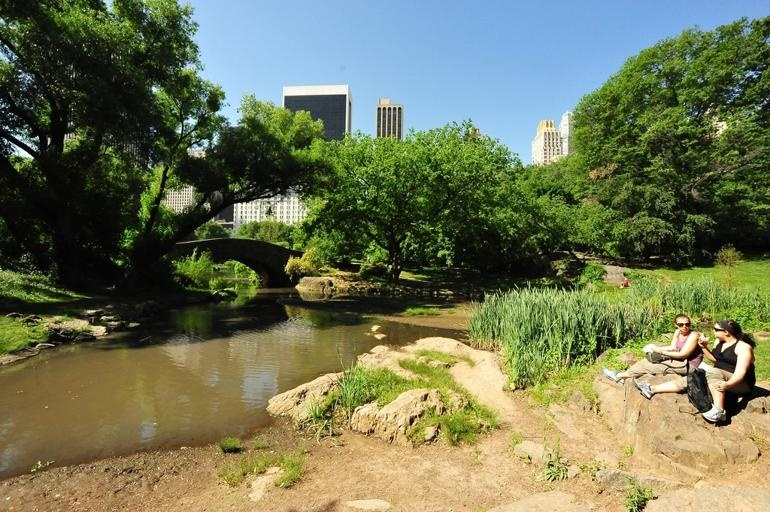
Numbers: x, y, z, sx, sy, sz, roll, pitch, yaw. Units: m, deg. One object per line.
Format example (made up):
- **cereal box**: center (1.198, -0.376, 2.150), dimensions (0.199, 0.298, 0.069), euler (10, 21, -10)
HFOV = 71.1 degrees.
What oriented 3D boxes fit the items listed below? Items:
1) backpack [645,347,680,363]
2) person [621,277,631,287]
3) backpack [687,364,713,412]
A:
- **backpack**: center (8.947, 3.294, 17.607), dimensions (0.618, 0.301, 0.402), euler (6, 45, 24)
- **person**: center (16.107, 1.771, 35.969), dimensions (0.489, 0.327, 0.721), euler (5, 26, 33)
- **backpack**: center (9.598, 4.126, 16.468), dimensions (0.877, 1.131, 0.415), euler (10, -15, -8)
